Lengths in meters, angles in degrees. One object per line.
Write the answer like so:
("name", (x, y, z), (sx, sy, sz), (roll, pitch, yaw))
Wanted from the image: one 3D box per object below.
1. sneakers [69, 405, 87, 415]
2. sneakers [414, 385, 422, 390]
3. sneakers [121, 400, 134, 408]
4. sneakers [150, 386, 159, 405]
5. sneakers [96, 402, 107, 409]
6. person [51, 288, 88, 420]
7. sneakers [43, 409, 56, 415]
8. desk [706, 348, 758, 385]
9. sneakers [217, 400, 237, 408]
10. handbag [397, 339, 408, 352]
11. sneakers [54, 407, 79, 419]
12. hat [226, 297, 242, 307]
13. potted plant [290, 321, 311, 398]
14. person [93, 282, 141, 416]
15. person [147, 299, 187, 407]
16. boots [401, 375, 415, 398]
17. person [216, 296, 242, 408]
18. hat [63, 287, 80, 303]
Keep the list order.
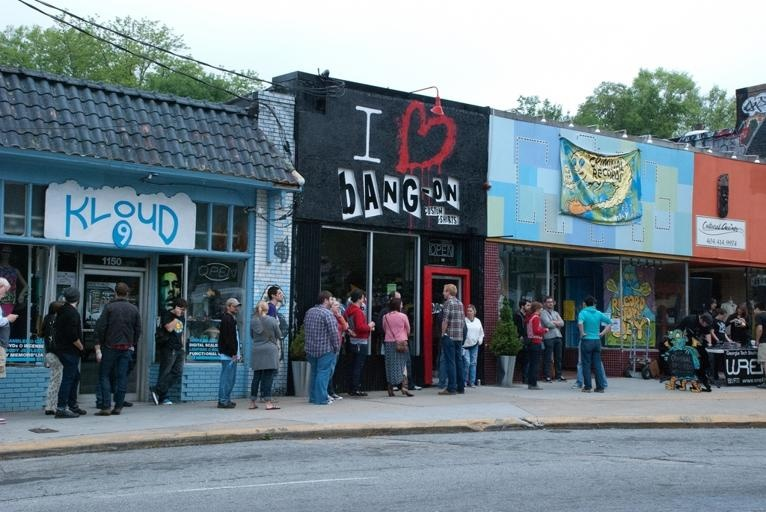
("sneakers", (-6.550, 3.292, 21.941), (0.375, 0.160, 0.135), (10, 8, -18))
("sneakers", (0.886, 3.430, 26.822), (0.206, 0.089, 0.080), (-5, -4, 38))
("sneakers", (-5.813, 3.365, 23.256), (0.201, 0.084, 0.111), (-3, 1, 9))
("sneakers", (-5.323, 3.256, 23.856), (0.192, 0.458, 0.168), (-9, -23, -14))
("sneakers", (-6.138, 3.225, 22.202), (0.248, 0.175, 0.224), (-4, -8, 32))
("person", (-6.665, 2.044, 21.784), (0.645, 2.721, 0.661), (1, -7, -7))
("sneakers", (-7.189, 3.364, 22.056), (0.157, 0.100, 0.163), (0, -7, 1))
("desk", (9.676, 3.082, 28.574), (1.181, 0.704, 1.166), (4, -7, -45))
("sneakers", (-3.568, 3.353, 23.276), (0.355, 0.160, 0.171), (0, -3, -2))
("handbag", (0.472, 2.193, 25.073), (0.305, 0.280, 0.242), (2, -8, -16))
("sneakers", (-6.692, 3.309, 21.541), (0.426, 0.176, 0.191), (1, -2, -6))
("hat", (-3.469, 1.072, 23.499), (0.293, 0.178, 0.219), (1, 12, -4))
("potted plant", (-2.063, 2.589, 25.167), (0.465, 1.721, 0.890), (4, -8, -26))
("person", (-5.778, 2.002, 22.177), (0.922, 2.831, 0.655), (2, -7, -15))
("person", (-5.015, 2.205, 23.888), (0.740, 2.476, 1.061), (2, -7, -12))
("boots", (0.542, 3.256, 25.450), (0.214, 0.447, 0.587), (-1, -6, 18))
("person", (-3.574, 2.215, 23.489), (0.449, 2.504, 0.516), (1, -7, -5))
("hat", (-6.634, 0.830, 21.851), (0.283, 0.264, 0.339), (1, 15, 5))
